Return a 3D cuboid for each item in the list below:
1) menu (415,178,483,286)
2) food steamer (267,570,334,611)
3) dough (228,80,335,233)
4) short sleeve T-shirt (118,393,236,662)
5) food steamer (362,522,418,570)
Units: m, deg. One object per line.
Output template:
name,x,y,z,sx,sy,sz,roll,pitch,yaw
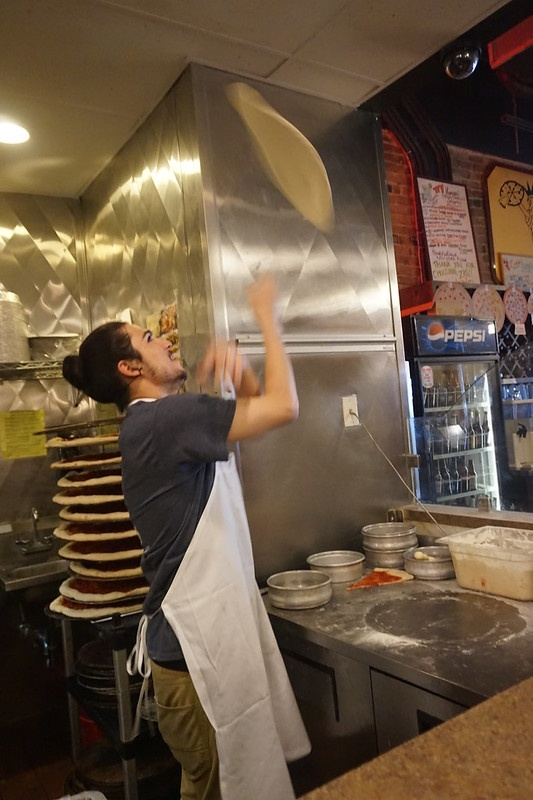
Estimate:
menu,1.387,-1.256,4.270,0.630,0.849,0.080,-9,-1,-38
food steamer,0.136,0.641,1.895,0.143,0.056,0.145,4,-6,-40
dough,0.141,-0.917,2.421,0.356,0.201,1.196,13,7,16
short sleeve T-shirt,-0.190,0.305,1.355,0.339,0.631,0.237,-10,-1,1
food steamer,0.484,0.571,2.248,0.170,0.127,0.176,-1,-4,7
